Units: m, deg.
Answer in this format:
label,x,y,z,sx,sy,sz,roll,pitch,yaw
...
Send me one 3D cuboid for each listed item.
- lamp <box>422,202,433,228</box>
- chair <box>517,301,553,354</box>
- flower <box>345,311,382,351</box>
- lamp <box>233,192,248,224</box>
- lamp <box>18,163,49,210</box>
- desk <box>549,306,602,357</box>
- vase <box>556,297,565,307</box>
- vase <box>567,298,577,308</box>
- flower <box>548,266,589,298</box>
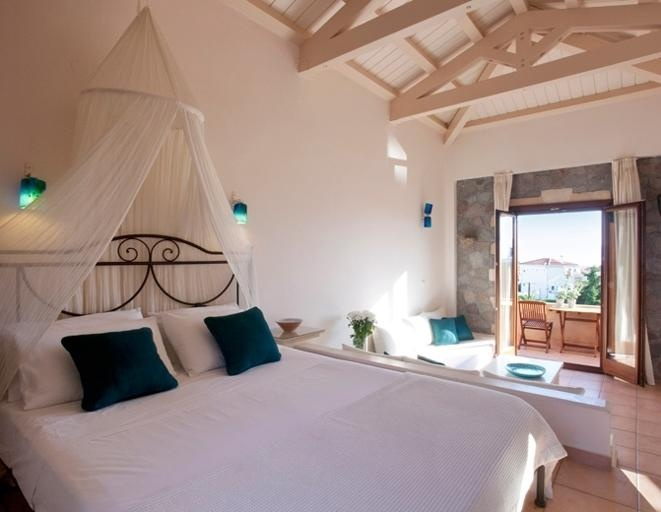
label,x,y,z,sx,sy,sz,roll,pitch,yaw
lamp,1.577,-0.648,6.997,0.155,0.430,0.378,4,11,12
chair,3.609,1.203,7.613,0.614,0.848,0.562,3,-3,-35
flower,0.391,0.882,5.222,0.349,0.534,0.385,10,20,24
lamp,-0.855,-0.443,4.189,0.190,0.294,0.149,-5,12,-31
lamp,-2.129,-0.461,3.037,0.155,0.238,0.166,1,2,-6
desk,4.161,1.279,7.328,0.862,0.784,0.378,2,3,40
vase,4.119,0.821,7.765,0.142,0.155,0.155,-1,-2,43
vase,4.260,0.828,7.614,0.135,0.128,0.123,4,-4,-19
flower,4.593,0.482,8.318,0.374,0.716,0.573,-3,6,-33
